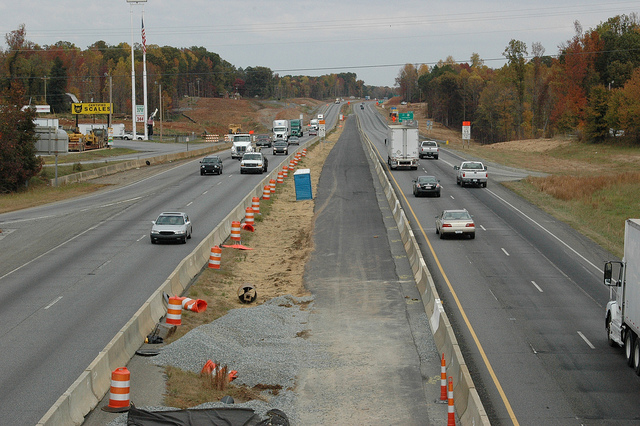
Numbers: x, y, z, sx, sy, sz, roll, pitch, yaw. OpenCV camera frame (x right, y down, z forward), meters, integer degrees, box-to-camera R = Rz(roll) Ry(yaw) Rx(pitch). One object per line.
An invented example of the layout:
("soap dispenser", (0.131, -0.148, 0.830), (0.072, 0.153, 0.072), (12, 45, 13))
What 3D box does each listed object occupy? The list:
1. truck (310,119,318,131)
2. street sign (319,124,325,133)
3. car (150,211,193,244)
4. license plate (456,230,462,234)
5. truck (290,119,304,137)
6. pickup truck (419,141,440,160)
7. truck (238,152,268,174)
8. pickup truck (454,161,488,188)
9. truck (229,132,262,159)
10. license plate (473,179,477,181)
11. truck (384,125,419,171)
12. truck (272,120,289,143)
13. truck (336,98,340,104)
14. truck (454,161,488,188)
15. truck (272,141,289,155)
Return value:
("truck", (-1.586, -19.889, 135.995), (1.777, 1.834, 3.340), (-1, 5, 0))
("street sign", (0.203, -18.108, 130.069), (1.042, 1.733, 2.051), (0, 13, 4))
("car", (-9.473, 0.913, 38.520), (2.182, 1.743, 4.961), (1, 6, -5))
("license plate", (8.509, 1.192, 37.180), (0.264, 0.195, 0.152), (-1, 8, 2))
("truck", (-5.812, -18.347, 130.162), (3.109, 3.391, 5.756), (-1, 4, 1))
("pickup truck", (14.694, -8.344, 81.491), (1.777, 2.181, 2.911), (-10, 16, -38))
("truck", (-7.414, -5.436, 66.748), (2.307, 2.252, 3.361), (1, 13, 9))
("pickup truck", (14.310, -3.692, 57.647), (1.822, 1.277, 3.021), (0, 11, -1))
("truck", (-10.564, -9.440, 80.530), (2.954, 2.703, 5.590), (0, 23, -4))
("license plate", (14.501, -3.053, 56.693), (0.347, 0.132, 0.132), (2, 13, 13))
("truck", (9.039, -7.467, 66.028), (2.842, 3.113, 5.357), (1, 13, 2))
("truck", (-7.028, -13.642, 100.633), (1.866, 2.683, 5.170), (-1, 4, 0))
("truck", (7.470, -52.482, 282.668), (2.388, 2.238, 4.102), (1, 12, 7))
("truck", (15.089, -2.997, 59.315), (2.921, 2.205, 5.669), (2, -8, 9))
("truck", (-5.730, -9.085, 85.386), (2.122, 1.644, 3.666), (1, 13, 0))
